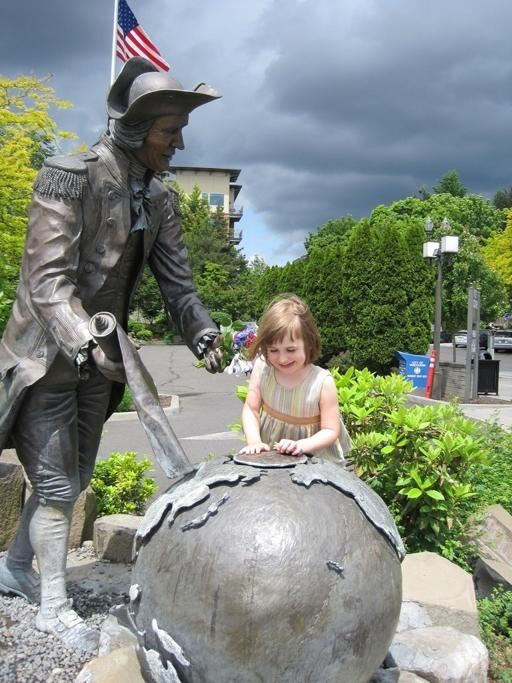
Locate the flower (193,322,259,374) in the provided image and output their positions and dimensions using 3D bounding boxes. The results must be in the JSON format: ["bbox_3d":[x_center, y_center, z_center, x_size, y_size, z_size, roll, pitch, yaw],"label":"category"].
[{"bbox_3d":[-0.186,0.034,2.663,0.333,0.125,0.318,23,6,-1],"label":"flower"}]

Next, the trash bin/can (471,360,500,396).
[{"bbox_3d":[6.304,0.988,14.375,0.543,0.981,0.801,5,4,24],"label":"trash bin/can"}]
